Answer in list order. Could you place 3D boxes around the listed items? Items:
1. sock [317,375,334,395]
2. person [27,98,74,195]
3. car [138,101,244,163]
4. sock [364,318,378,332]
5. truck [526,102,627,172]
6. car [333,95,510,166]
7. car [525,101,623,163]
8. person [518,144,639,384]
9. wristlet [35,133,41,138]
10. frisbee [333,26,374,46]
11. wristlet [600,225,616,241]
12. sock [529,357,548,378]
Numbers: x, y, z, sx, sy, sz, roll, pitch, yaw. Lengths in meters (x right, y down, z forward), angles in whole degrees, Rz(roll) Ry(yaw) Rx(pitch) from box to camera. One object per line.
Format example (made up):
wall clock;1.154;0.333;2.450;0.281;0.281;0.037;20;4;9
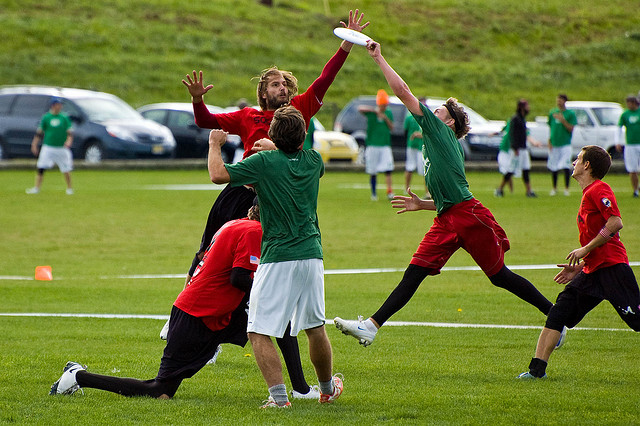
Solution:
sock;0.068;1.945;15.821;0.167;0.196;0.108;2;7;-1
person;-3.347;-0.720;17.167;0.564;0.944;0.411;0;7;-15
car;-3.207;-1.709;32.975;3.307;1.547;1.852;0;7;0
sock;0.590;1.319;16.457;0.103;0.159;0.097;-43;-1;-1
truck;6.533;-2.039;33.886;3.365;1.471;2.072;0;5;19
car;2.329;-2.164;34.880;4.031;1.495;1.946;-1;3;17
car;6.491;-2.146;34.084;3.276;1.459;1.978;0;5;24
person;3.154;0.555;16.374;1.245;2.679;0.754;3;7;8
wristlet;-3.488;-0.959;17.096;0.045;0.041;0.039;-8;18;-35
frisbee;0.361;-2.109;16.598;0.372;0.214;0.497;-1;8;-21
wristlet;3.329;0.233;16.091;0.153;0.139;0.149;3;35;-2
sock;2.535;1.789;16.215;0.214;0.189;0.184;17;-7;-29
